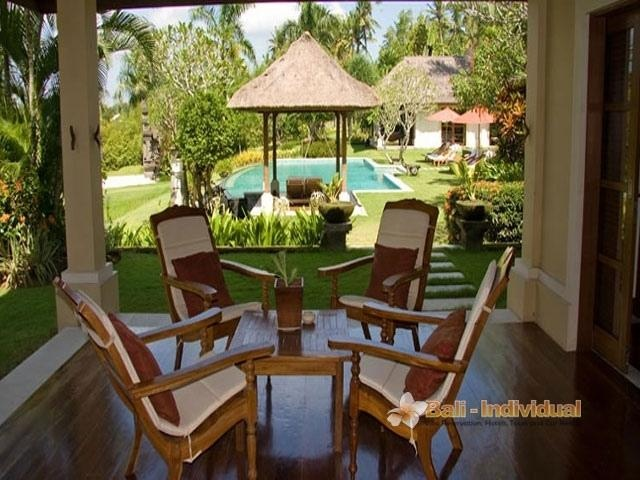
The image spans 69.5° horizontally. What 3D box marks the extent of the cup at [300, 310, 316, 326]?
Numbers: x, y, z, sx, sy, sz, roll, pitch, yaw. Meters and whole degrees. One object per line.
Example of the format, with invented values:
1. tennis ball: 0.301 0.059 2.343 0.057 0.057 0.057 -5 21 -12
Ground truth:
1. cup: -0.071 0.549 3.331 0.084 0.053 0.087 -1 13 0
